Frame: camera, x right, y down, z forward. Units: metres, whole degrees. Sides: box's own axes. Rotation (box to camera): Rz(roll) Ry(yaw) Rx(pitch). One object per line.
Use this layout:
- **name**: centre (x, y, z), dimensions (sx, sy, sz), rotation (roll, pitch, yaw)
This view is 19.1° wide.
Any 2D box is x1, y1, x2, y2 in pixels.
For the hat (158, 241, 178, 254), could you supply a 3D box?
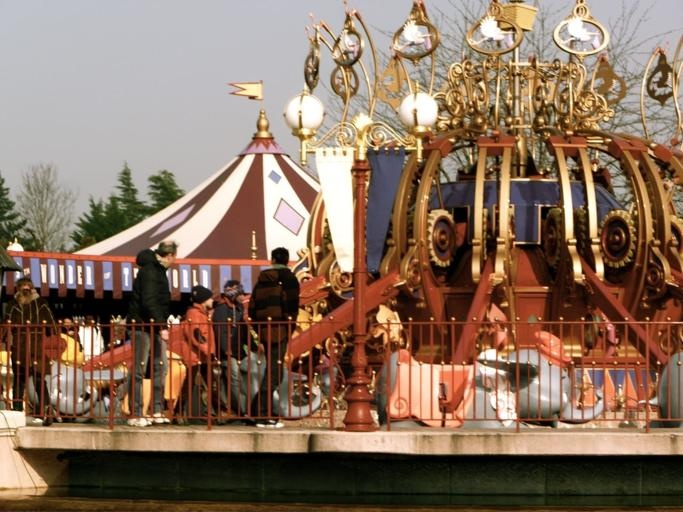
- **hat**: centre (-2.247, -0.121, 25.967), dimensions (0.156, 0.198, 0.192), rotation (6, 3, 20)

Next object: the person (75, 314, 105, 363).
- **person**: centre (-3.721, 1.219, 29.628), dimensions (0.408, 0.706, 0.178), rotation (1, -13, -21)

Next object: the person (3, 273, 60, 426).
- **person**: centre (-4.046, 1.207, 26.155), dimensions (0.631, 1.965, 1.505), rotation (2, -10, -9)

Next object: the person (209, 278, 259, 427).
- **person**: centre (-1.408, 1.155, 25.825), dimensions (0.545, 1.839, 1.212), rotation (1, -10, -4)

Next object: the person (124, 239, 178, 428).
- **person**: centre (-2.434, 0.984, 25.746), dimensions (0.588, 2.394, 1.076), rotation (2, -10, -6)
